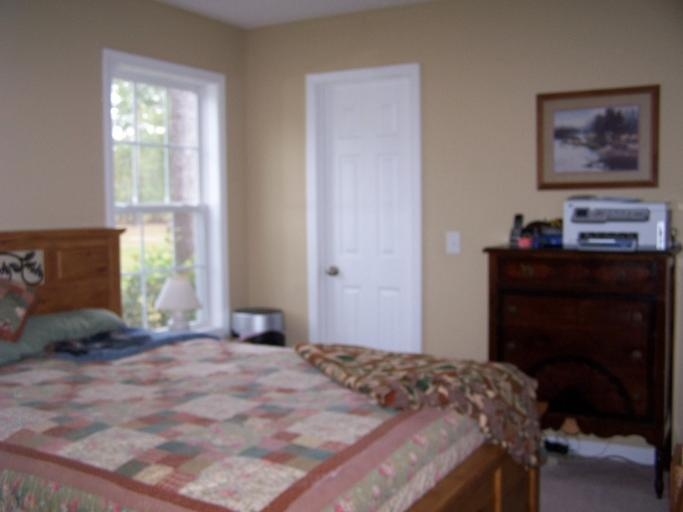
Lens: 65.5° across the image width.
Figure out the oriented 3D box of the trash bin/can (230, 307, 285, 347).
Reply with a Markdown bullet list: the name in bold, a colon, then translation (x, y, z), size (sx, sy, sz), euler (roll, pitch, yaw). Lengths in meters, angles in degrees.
- **trash bin/can**: translation (-0.725, 0.539, 4.492), size (0.329, 0.323, 0.349), euler (-2, 8, -22)

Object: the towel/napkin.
- **towel/napkin**: translation (-1.229, 0.472, 3.055), size (0.410, 0.086, 0.757), euler (3, 6, 34)

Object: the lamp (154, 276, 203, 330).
- **lamp**: translation (-1.254, 0.315, 4.150), size (0.387, 0.518, 0.377), euler (-2, 7, -21)

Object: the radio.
- **radio**: translation (1.603, -0.189, 3.116), size (0.548, 0.296, 0.114), euler (1, 6, 20)

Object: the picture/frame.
- **picture/frame**: translation (1.787, -0.827, 3.629), size (0.784, 0.652, 0.035), euler (1, 1, 24)

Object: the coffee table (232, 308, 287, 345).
- **coffee table**: translation (-0.708, 0.552, 4.467), size (0.351, 0.311, 0.375), euler (11, 6, 41)

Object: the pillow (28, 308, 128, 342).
- **pillow**: translation (-1.507, 0.363, 3.025), size (0.378, 0.145, 0.522), euler (0, 0, 32)
